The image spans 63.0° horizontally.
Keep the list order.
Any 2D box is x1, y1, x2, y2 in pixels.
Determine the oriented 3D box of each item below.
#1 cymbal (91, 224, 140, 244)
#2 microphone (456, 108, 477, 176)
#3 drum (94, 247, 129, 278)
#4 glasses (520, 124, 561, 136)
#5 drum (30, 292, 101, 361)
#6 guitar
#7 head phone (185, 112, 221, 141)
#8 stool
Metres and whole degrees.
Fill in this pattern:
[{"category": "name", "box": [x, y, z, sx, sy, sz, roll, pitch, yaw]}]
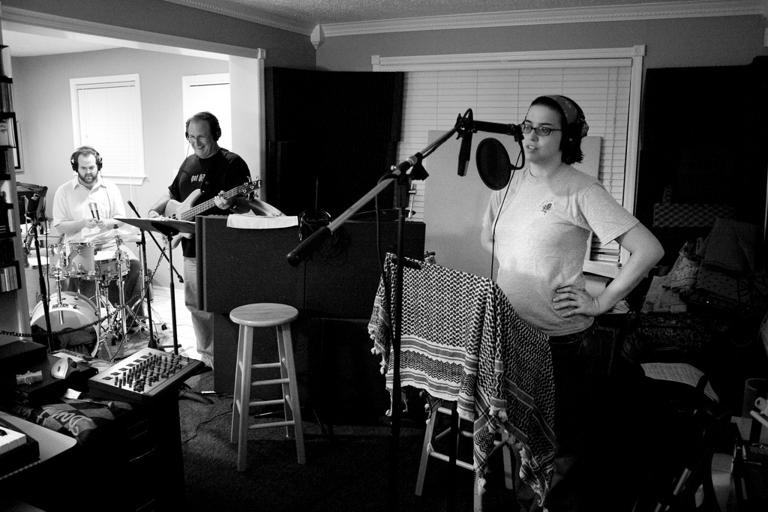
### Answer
[{"category": "cymbal", "box": [-2.654, -0.220, 6.225, 0.453, 0.107, 0.323, 2, 4, 21]}, {"category": "microphone", "box": [0.402, -0.570, 3.137, 0.120, 0.319, 0.108, 6, 7, 29]}, {"category": "drum", "box": [-2.515, 0.066, 5.749, 0.255, 0.104, 0.293, -1, 10, -26]}, {"category": "glasses", "box": [0.813, -0.651, 3.241, 0.194, 0.060, 0.046, 4, 12, 13]}, {"category": "drum", "box": [-2.659, 0.653, 5.342, 0.495, 0.499, 0.402, -11, 10, -11]}, {"category": "guitar", "box": [-1.437, -0.439, 5.190, 0.916, 0.362, 0.109, -17, -5, 15]}, {"category": "head phone", "box": [-1.538, -1.104, 5.315, 0.280, 0.232, 0.269, -5, 13, -25]}, {"category": "stool", "box": [-0.806, 0.823, 4.267, 0.506, 1.036, 0.624, -2, 12, -14]}]
